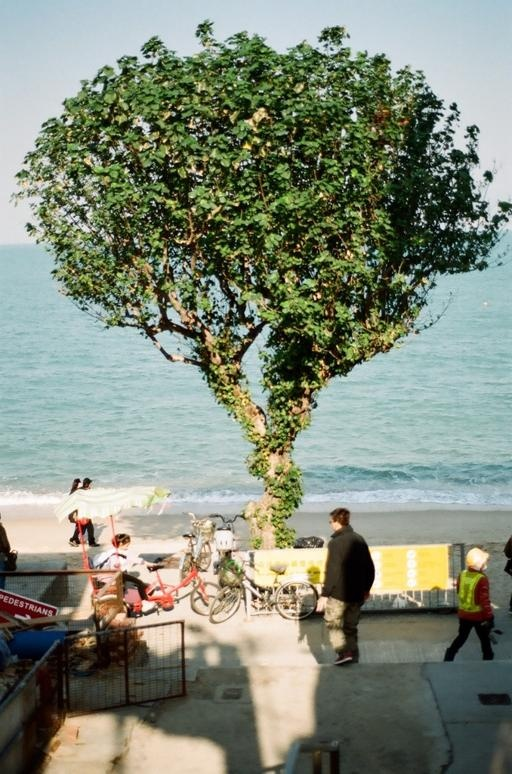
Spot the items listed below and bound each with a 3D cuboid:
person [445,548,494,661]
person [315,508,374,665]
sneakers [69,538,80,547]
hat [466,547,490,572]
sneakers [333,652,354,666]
[{"bbox_3d":[2.618,2.811,10.827,0.572,1.393,1.494,-3,-1,13],"label":"person"},{"bbox_3d":[1.079,2.493,10.659,0.630,1.722,0.468,-2,-1,-40],"label":"person"},{"bbox_3d":[-4.511,3.962,21.800,0.211,0.220,0.581,-3,-1,-26],"label":"sneakers"},{"bbox_3d":[2.699,2.163,10.701,0.239,0.289,0.384,-3,-1,10],"label":"hat"},{"bbox_3d":[1.037,3.281,10.389,0.220,0.139,0.246,-3,-1,4],"label":"sneakers"}]
